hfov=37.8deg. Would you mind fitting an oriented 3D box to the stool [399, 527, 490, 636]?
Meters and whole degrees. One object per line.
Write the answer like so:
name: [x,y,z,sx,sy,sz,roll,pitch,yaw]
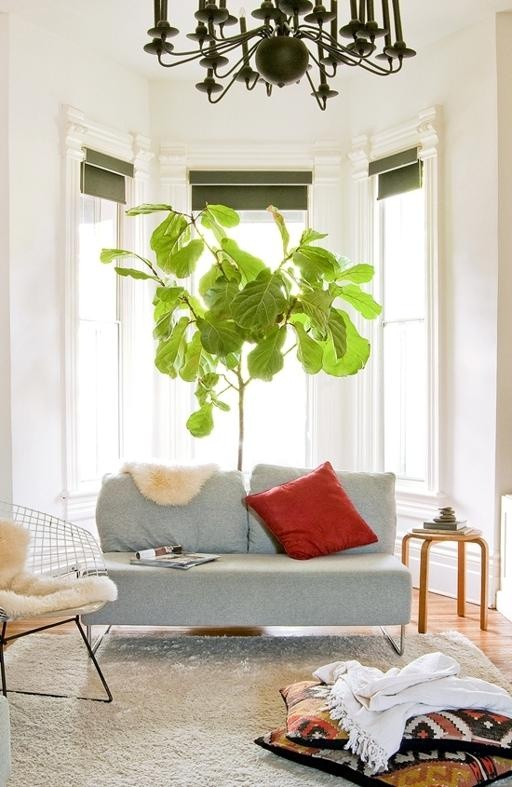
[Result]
stool: [0.904,0.827,3.488,0.461,0.520,0.454,-5,-7,30]
